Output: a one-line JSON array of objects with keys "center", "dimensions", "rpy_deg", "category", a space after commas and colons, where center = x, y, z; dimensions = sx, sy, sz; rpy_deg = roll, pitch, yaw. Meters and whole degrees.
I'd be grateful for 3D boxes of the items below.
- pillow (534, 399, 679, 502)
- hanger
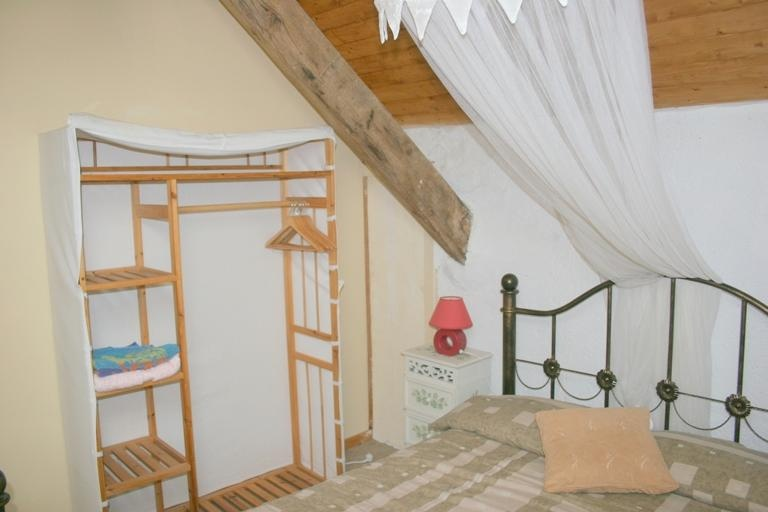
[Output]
[{"center": [1.217, 1.073, 3.374], "dimensions": [0.685, 0.350, 0.378], "rpy_deg": [-2, 5, 7], "category": "pillow"}, {"center": [-0.592, -0.222, 4.290], "dimensions": [0.421, 0.247, 0.139], "rpy_deg": [5, 10, 34], "category": "hanger"}]
